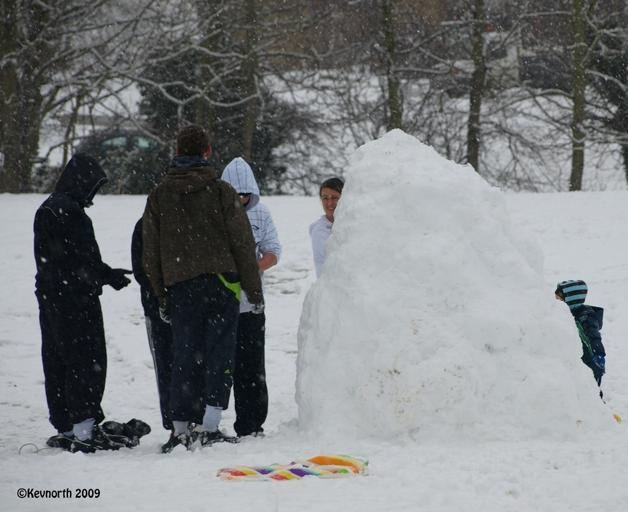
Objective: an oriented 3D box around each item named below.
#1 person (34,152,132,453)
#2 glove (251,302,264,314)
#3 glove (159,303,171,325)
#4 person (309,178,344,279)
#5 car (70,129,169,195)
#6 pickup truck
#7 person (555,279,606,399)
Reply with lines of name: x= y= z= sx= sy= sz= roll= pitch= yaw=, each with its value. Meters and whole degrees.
person: x=-3.415 y=0.663 z=19.488 sx=1.091 sy=4.202 sz=0.603 roll=-2 pitch=2 yaw=-12
glove: x=-0.802 y=0.766 z=19.566 sx=0.147 sy=0.112 sz=0.146 roll=14 pitch=20 yaw=40
glove: x=-2.121 y=0.841 z=19.428 sx=0.181 sy=0.251 sz=0.106 roll=-29 pitch=-5 yaw=41
person: x=0.186 y=-0.415 z=20.135 sx=0.518 sy=1.429 sz=0.426 roll=-2 pitch=2 yaw=-2
car: x=-5.032 y=-2.067 z=35.123 sx=2.715 sy=2.134 sz=1.098 roll=1 pitch=40 yaw=-9
pickup truck: x=4.440 y=-4.921 z=32.615 sx=4.125 sy=2.041 sz=2.385 roll=-5 pitch=12 yaw=-17
person: x=3.957 y=1.258 z=20.226 sx=0.724 sy=1.743 sz=0.853 roll=-2 pitch=2 yaw=3
